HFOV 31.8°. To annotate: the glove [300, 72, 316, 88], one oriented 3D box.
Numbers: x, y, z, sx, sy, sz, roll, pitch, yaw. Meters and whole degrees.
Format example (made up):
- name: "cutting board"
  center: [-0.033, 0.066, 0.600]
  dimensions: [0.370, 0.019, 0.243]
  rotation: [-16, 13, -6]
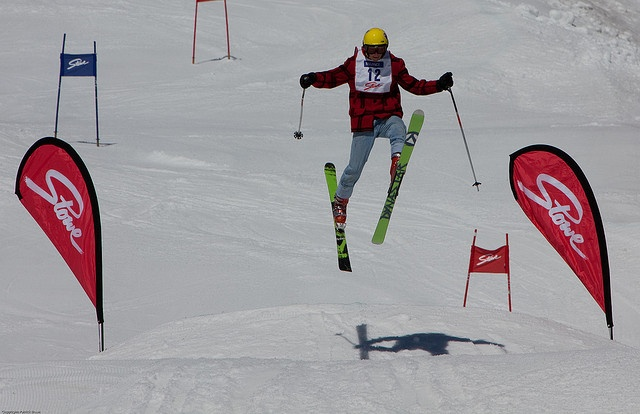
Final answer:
- name: "glove"
  center: [-0.246, -2.797, 24.915]
  dimensions: [0.360, 0.378, 0.397]
  rotation: [0, 21, -8]
